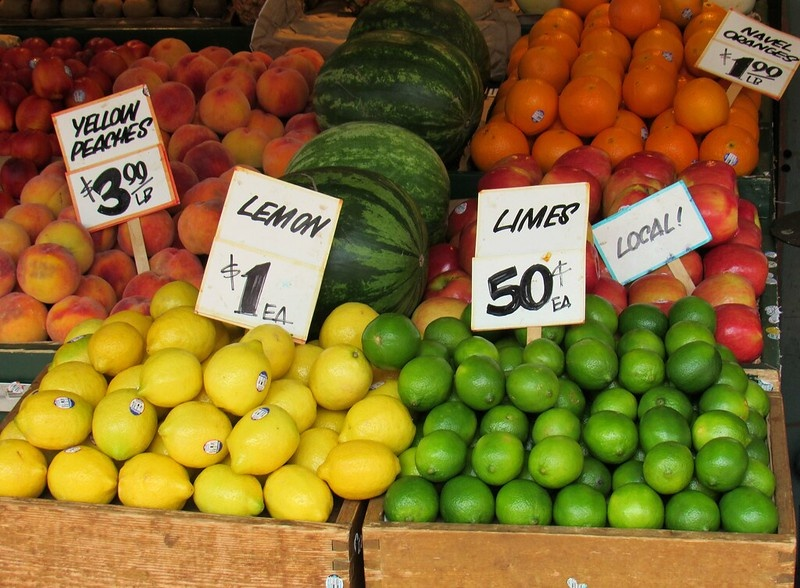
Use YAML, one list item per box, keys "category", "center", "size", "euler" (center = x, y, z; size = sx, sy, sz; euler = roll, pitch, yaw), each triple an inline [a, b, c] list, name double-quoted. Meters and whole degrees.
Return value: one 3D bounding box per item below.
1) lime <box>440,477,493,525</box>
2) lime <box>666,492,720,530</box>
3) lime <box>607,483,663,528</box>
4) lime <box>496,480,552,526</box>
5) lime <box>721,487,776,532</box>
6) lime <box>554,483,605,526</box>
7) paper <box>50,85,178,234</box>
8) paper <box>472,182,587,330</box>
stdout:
- category: "lime"
  center: [0.189, 0.571, 2.021]
  size: [0.133, 0.115, 0.109]
  euler: [3, -9, 34]
- category: "lime"
  center: [0.794, 0.592, 1.951]
  size: [0.111, 0.106, 0.115]
  euler: [22, 54, -21]
- category: "lime"
  center: [0.655, 0.584, 2.021]
  size: [0.115, 0.131, 0.123]
  euler: [8, -14, -28]
- category: "lime"
  center: [0.344, 0.583, 1.989]
  size: [0.131, 0.113, 0.108]
  euler: [-4, -17, -14]
- category: "lime"
  center: [0.943, 0.589, 1.951]
  size: [0.097, 0.107, 0.131]
  euler: [-7, -5, 4]
- category: "lime"
  center: [0.496, 0.588, 1.976]
  size: [0.104, 0.121, 0.114]
  euler: [1, -1, 28]
- category: "paper"
  center: [-1.299, -0.595, 3.320]
  size: [0.568, 0.640, 0.143]
  euler: [-15, 4, 2]
- category: "paper"
  center: [0.451, -0.112, 2.439]
  size: [0.472, 0.666, 0.046]
  euler: [-1, -26, 8]
